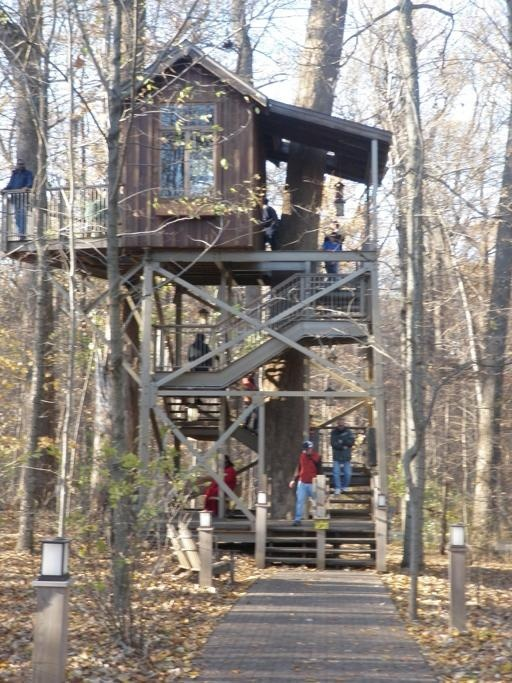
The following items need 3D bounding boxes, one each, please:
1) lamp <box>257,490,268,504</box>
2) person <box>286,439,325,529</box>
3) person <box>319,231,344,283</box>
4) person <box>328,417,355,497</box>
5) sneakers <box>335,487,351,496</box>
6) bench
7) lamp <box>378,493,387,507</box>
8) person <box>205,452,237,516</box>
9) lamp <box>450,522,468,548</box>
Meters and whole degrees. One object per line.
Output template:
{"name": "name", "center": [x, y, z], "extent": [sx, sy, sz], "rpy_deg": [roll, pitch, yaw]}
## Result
{"name": "lamp", "center": [0.080, 2.980, 26.980], "extent": [0.165, 0.241, 0.325], "rpy_deg": [1, -5, -1]}
{"name": "person", "center": [0.944, 2.753, 27.639], "extent": [0.572, 1.622, 0.933], "rpy_deg": [1, -5, 1]}
{"name": "person", "center": [1.539, -1.859, 29.921], "extent": [0.365, 1.262, 0.716], "rpy_deg": [5, -8, -30]}
{"name": "person", "center": [1.747, 2.397, 29.372], "extent": [0.455, 1.515, 0.895], "rpy_deg": [1, -5, 2]}
{"name": "sneakers", "center": [1.735, 3.087, 29.265], "extent": [0.156, 0.177, 0.453], "rpy_deg": [-5, -19, 15]}
{"name": "bench", "center": [-0.978, 3.691, 24.866], "extent": [1.141, 1.129, 1.784], "rpy_deg": [1, -5, -3]}
{"name": "lamp", "center": [2.367, 3.008, 26.835], "extent": [0.106, 0.249, 0.224], "rpy_deg": [0, -5, 20]}
{"name": "person", "center": [-0.705, 2.868, 28.406], "extent": [0.446, 1.182, 0.870], "rpy_deg": [-4, 10, -25]}
{"name": "lamp", "center": [3.070, 2.977, 21.743], "extent": [0.221, 0.343, 0.160], "rpy_deg": [1, -5, 2]}
